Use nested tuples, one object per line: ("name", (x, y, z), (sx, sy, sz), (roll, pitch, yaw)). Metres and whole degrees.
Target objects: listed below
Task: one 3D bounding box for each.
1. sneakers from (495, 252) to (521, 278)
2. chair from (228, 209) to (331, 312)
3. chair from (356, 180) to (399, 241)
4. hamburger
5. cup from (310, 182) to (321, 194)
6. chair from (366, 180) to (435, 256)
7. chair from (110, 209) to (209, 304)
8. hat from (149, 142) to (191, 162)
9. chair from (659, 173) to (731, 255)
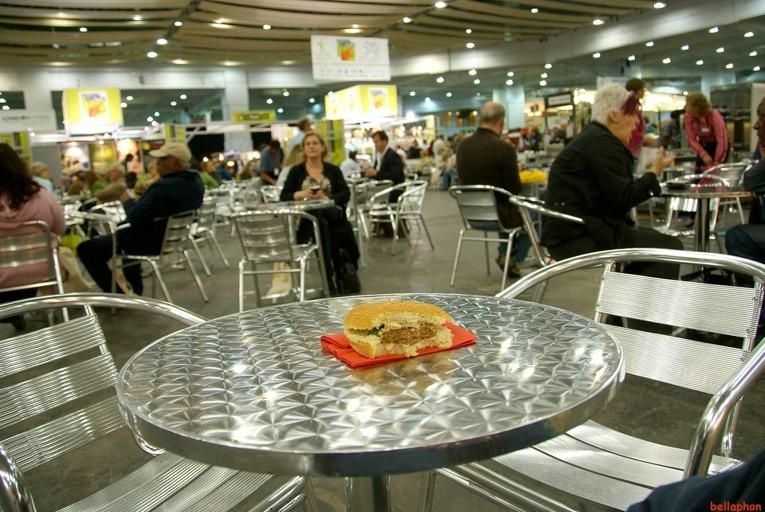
("sneakers", (1.301, 0.120, 5.603), (0.138, 0.267, 0.427), (4, 7, 42))
("chair", (-0.933, 0.039, 4.719), (0.852, 0.925, 0.844), (2, 11, 33))
("chair", (-0.118, -0.794, 8.190), (0.646, 0.761, 0.669), (-20, 32, -37))
("hamburger", (0.043, 0.179, 1.435), (0.193, 0.071, 0.180), (-5, 7, -19))
("cup", (-0.667, -0.699, 5.317), (0.144, 0.099, 0.134), (-4, 1, 0))
("chair", (0.401, -0.635, 7.921), (0.784, 0.840, 0.763), (-9, 10, -28))
("chair", (-2.311, -0.078, 5.397), (0.938, 0.883, 0.893), (0, 22, -25))
("hat", (-2.081, -1.033, 5.207), (0.317, 0.137, 0.190), (1, 12, -31))
("chair", (2.624, -0.426, 4.207), (0.458, 0.444, 0.435), (-14, 8, -24))
